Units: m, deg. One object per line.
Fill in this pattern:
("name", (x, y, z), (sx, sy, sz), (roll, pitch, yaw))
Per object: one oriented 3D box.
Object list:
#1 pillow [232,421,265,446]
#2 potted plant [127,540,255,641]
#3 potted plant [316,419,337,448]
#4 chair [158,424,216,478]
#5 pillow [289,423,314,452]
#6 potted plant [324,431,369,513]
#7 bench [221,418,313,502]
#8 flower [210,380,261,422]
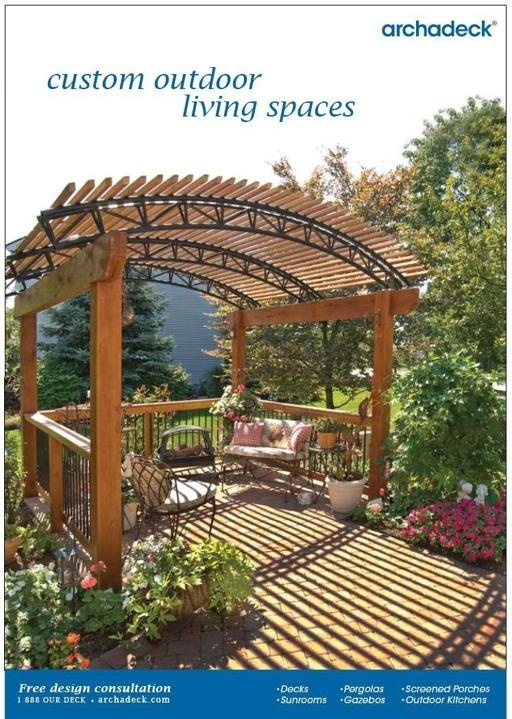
("pillow", (-0.084, 0.904, 6.460), (0.296, 0.109, 0.270), (0, 41, 12))
("potted plant", (-0.398, 1.345, 3.146), (0.832, 0.380, 0.652), (0, 2, -25))
("potted plant", (0.726, 0.780, 5.617), (0.257, 0.266, 0.253), (-1, 3, -28))
("chair", (-0.704, 0.981, 5.427), (0.599, 0.593, 0.745), (-1, -15, -19))
("pillow", (0.504, 0.879, 5.901), (0.084, 0.267, 0.279), (22, -15, -25))
("potted plant", (0.987, 1.095, 5.819), (0.434, 0.853, 1.594), (1, 2, 8))
("bench", (0.110, 1.107, 6.457), (1.015, 0.806, 1.567), (1, 2, -3))
("flower", (-0.255, 0.557, 7.221), (0.531, 0.517, 0.546), (0, -2, -9))
